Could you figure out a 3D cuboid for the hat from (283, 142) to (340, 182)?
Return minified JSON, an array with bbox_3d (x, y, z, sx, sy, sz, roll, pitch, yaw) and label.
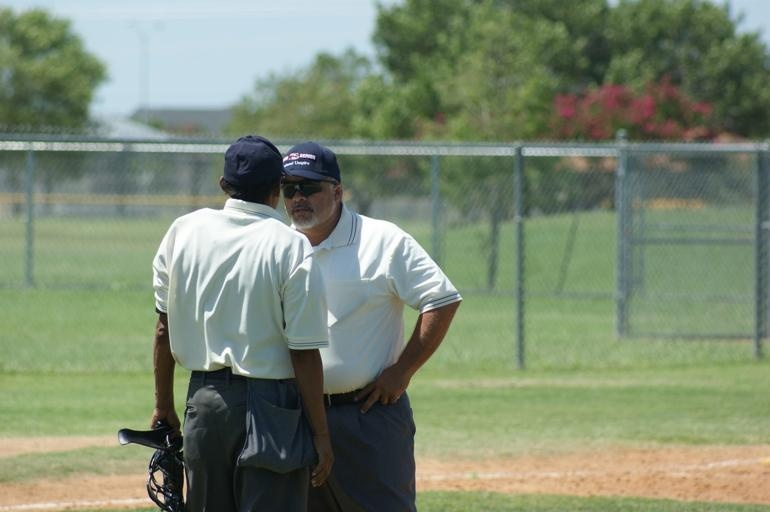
[{"bbox_3d":[-0.782,-1.099,18.907,0.542,0.323,0.402,15,11,12],"label":"hat"}]
